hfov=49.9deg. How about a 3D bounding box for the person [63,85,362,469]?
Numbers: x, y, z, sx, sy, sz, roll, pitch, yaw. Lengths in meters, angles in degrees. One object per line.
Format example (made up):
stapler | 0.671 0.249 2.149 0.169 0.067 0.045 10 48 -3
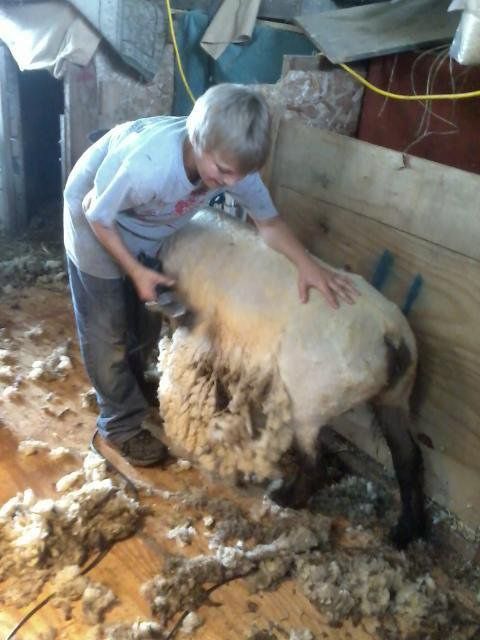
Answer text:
person | -0.246 -0.064 2.080 0.797 1.658 0.832 -4 28 -33

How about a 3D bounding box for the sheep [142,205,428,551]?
sheep | 0.067 0.145 2.272 1.710 1.115 0.602 22 27 38
